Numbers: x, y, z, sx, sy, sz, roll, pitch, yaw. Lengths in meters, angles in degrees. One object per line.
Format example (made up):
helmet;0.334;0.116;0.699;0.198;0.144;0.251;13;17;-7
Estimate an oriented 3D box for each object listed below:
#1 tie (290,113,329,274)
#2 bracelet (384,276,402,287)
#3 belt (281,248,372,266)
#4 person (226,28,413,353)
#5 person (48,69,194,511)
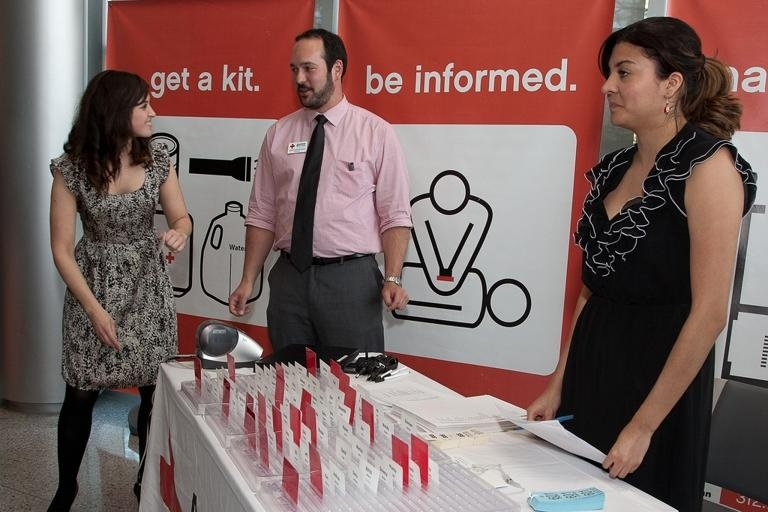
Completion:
tie;-0.390;-0.344;3.191;0.118;0.810;0.203;4;6;13
bracelet;0.047;0.116;3.071;0.076;0.033;0.102;3;9;-5
belt;-0.302;0.005;3.184;0.493;0.079;0.112;4;8;-1
person;-0.383;0.008;3.490;0.832;2.560;0.539;4;31;0
person;-1.333;0.166;3.064;0.655;2.170;0.342;-1;7;-32
